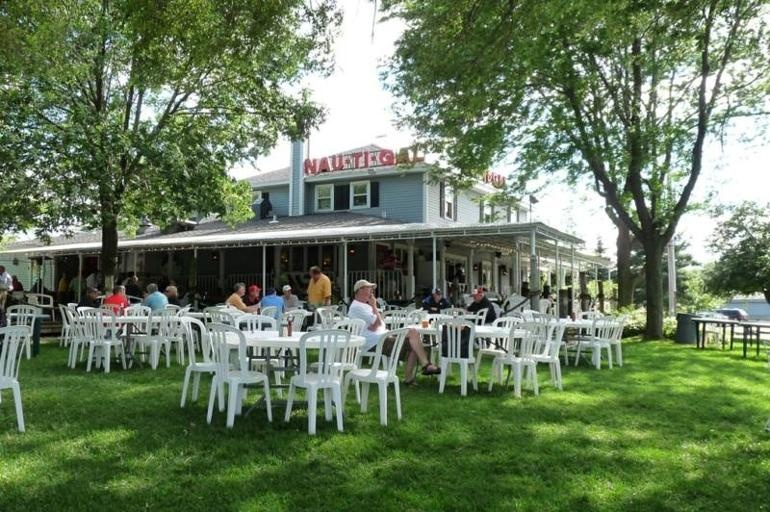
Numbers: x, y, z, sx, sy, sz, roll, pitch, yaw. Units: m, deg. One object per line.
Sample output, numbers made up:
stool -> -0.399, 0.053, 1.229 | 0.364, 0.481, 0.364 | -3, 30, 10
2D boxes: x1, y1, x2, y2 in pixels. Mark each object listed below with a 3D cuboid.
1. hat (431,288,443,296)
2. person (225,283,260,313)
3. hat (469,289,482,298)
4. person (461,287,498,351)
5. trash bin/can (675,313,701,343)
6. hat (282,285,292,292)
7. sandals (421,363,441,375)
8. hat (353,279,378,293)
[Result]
hat -> 1.182, 0.830, 16.041 | 0.211, 0.120, 0.160 | -8, -5, 36
person -> -3.400, 1.108, 17.342 | 1.071, 0.901, 0.823 | 0, 5, -25
hat -> 2.641, 1.083, 20.173 | 0.356, 0.187, 0.561 | -6, -9, 21
person -> 2.439, 1.521, 16.819 | 0.646, 1.461, 0.794 | 0, -3, -20
trash bin/can -> 9.648, 2.333, 22.150 | 0.799, 0.863, 0.806 | -3, -6, 31
hat -> -2.499, 0.861, 17.927 | 0.300, 0.154, 0.227 | -6, 2, -12
sandals -> 0.889, 2.198, 13.353 | 0.324, 0.132, 0.184 | -8, -8, 32
hat -> -0.357, 0.532, 12.629 | 0.394, 0.190, 0.267 | -9, -1, -3
